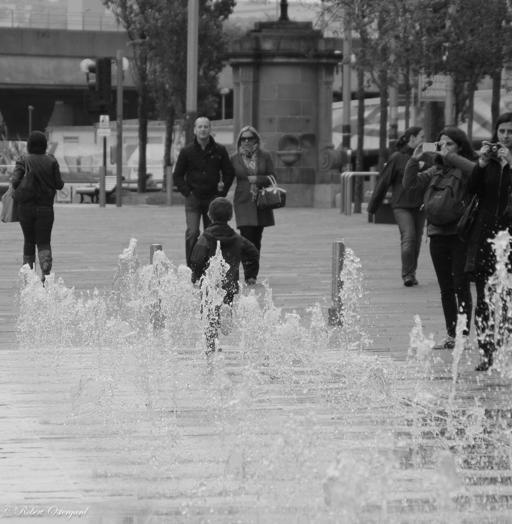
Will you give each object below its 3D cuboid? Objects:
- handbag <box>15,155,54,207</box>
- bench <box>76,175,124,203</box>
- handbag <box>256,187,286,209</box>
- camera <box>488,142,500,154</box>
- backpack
[{"bbox_3d":[-2.214,-0.825,17.254,0.263,0.351,0.182,-23,10,-30],"label":"handbag"},{"bbox_3d":[-3.806,-1.784,42.773,0.586,0.812,1.190,-1,-3,13],"label":"bench"},{"bbox_3d":[0.192,-0.640,17.973,0.369,0.218,0.253,-3,7,-37],"label":"handbag"},{"bbox_3d":[1.728,-0.826,12.987,0.059,0.036,0.088,8,16,13],"label":"camera"},{"bbox_3d":[1.509,-0.547,14.035,0.320,0.578,0.308,5,-19,11],"label":"backpack"}]
